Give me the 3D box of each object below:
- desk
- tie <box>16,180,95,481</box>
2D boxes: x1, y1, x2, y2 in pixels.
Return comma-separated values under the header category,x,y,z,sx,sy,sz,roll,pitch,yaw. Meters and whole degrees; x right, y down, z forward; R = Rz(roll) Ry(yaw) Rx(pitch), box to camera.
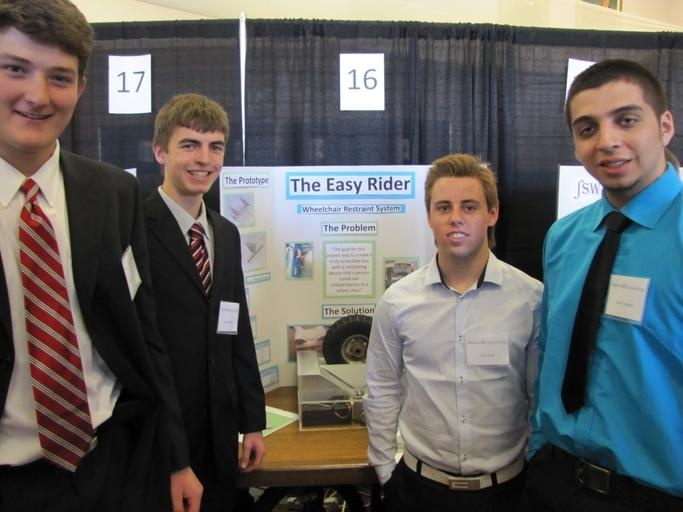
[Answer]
category,x,y,z,sx,sy,sz,roll,pitch,yaw
desk,-0.129,0.757,2.318,0.359,0.218,0.563,0,3,-4
tie,-0.824,0.189,1.548,0.130,0.811,0.186,-8,11,-32
